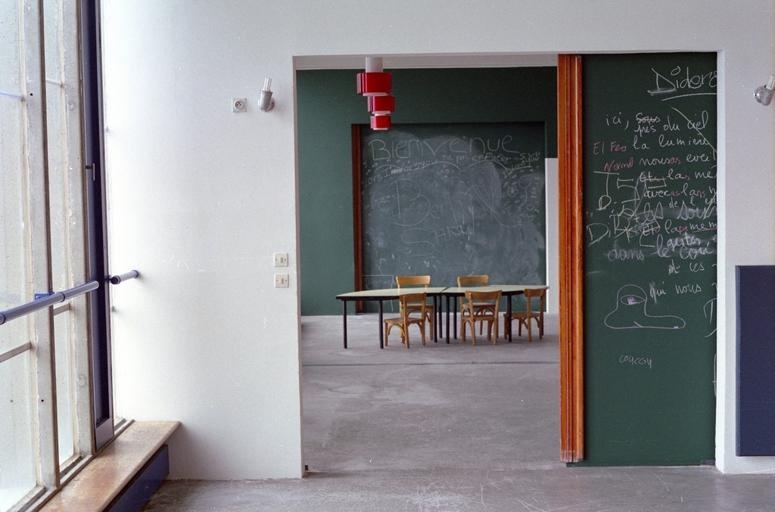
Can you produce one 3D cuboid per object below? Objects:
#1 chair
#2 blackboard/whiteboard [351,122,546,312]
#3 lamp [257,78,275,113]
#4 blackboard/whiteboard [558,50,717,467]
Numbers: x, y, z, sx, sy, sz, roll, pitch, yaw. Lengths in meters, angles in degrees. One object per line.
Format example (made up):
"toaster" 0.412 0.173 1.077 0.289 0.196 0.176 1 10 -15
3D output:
"chair" 0.948 0.741 11.673 2.112 0.889 1.947 -2 9 0
"blackboard/whiteboard" 1.025 -0.716 12.864 2.796 2.906 0.102 0 3 6
"lamp" -0.990 -1.310 6.828 0.138 0.265 0.104 -2 9 -1
"blackboard/whiteboard" 2.180 0.030 6.996 1.144 3.369 0.437 -2 9 2
